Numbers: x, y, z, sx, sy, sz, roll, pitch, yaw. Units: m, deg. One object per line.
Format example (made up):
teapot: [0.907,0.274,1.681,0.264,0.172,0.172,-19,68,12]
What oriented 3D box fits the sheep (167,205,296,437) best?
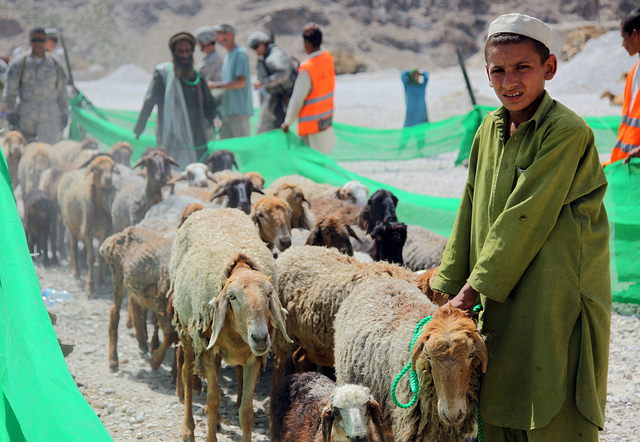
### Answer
sheep: [-1.429,1.556,18.559,1.426,3.285,2.018,-9,12,-36]

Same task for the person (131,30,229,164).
person: [-2.523,-2.217,22.144,1.273,2.345,0.748,-3,10,-7]

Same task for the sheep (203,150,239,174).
sheep: [-1.834,-1.119,22.824,0.558,0.339,0.319,-5,-9,33]

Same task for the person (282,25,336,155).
person: [-0.127,-2.355,22.236,0.638,2.373,0.985,6,12,39]

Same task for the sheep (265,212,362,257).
sheep: [0.036,0.208,19.826,0.684,0.776,1.340,-22,10,-34]

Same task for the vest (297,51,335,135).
vest: [-0.089,-2.294,22.138,0.528,1.360,0.979,22,35,32]

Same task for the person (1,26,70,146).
person: [-5.290,-2.490,22.896,1.233,2.168,0.700,-5,10,-17]
